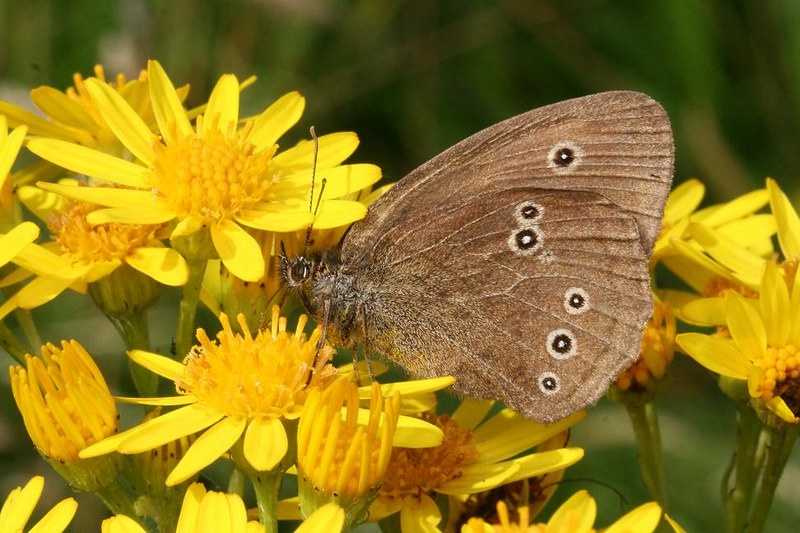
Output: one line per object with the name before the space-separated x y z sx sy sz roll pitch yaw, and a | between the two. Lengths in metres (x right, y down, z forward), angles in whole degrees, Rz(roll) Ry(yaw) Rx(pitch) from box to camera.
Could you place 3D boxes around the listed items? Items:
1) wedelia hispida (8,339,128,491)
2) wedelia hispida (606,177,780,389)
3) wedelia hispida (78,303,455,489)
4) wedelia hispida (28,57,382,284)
wedelia hispida | -0.977 0.422 2.823 0.258 0.187 0.509 -29 86 -7
wedelia hispida | 1.000 0.031 3.289 0.637 0.252 0.692 20 85 20
wedelia hispida | -0.473 0.376 2.712 0.636 0.685 0.234 7 110 24
wedelia hispida | -0.601 -0.300 2.911 0.838 0.255 0.813 33 49 15
